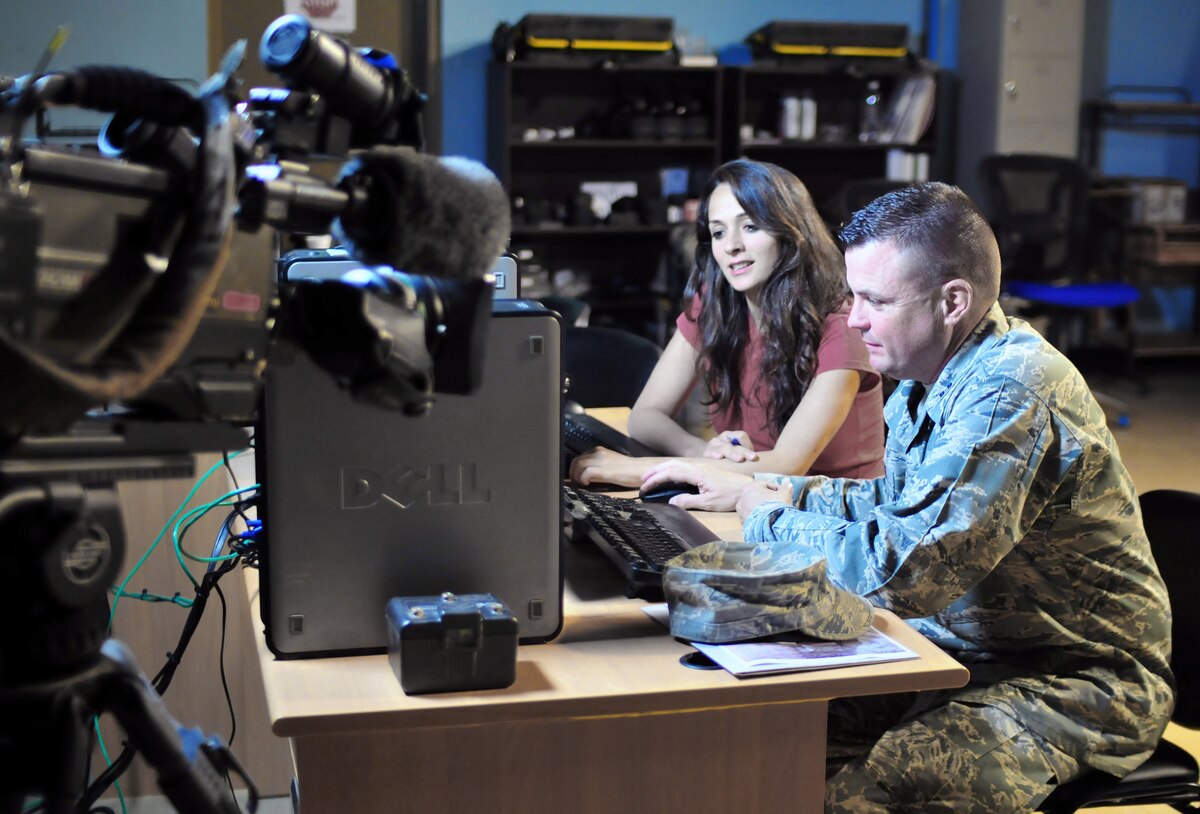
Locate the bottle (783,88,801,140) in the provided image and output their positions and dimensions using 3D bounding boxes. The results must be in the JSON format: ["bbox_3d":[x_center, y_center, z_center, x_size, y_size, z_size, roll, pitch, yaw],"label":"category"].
[{"bbox_3d":[0.995,-1.520,5.894,0.100,0.235,0.099,2,10,0],"label":"bottle"}]

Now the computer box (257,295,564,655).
[{"bbox_3d":[-0.271,0.107,1.773,0.485,0.455,0.390,-1,0,-13],"label":"computer box"}]

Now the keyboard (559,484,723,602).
[{"bbox_3d":[0.077,0.218,2.057,0.199,0.081,0.422,-8,13,-17],"label":"keyboard"}]

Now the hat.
[{"bbox_3d":[0.244,0.256,1.688,0.237,0.092,0.163,-1,2,-11],"label":"hat"}]

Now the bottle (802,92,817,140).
[{"bbox_3d":[1.108,-1.528,5.971,0.094,0.240,0.300,4,10,9],"label":"bottle"}]

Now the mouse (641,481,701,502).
[{"bbox_3d":[0.134,0.176,2.331,0.085,0.022,0.049,-17,18,-11],"label":"mouse"}]

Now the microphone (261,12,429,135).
[{"bbox_3d":[-0.305,-0.379,1.317,0.197,0.147,0.161,-5,12,-34],"label":"microphone"}]

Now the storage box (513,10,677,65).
[{"bbox_3d":[0.019,-1.773,5.480,0.761,0.232,0.184,0,10,-10],"label":"storage box"}]
